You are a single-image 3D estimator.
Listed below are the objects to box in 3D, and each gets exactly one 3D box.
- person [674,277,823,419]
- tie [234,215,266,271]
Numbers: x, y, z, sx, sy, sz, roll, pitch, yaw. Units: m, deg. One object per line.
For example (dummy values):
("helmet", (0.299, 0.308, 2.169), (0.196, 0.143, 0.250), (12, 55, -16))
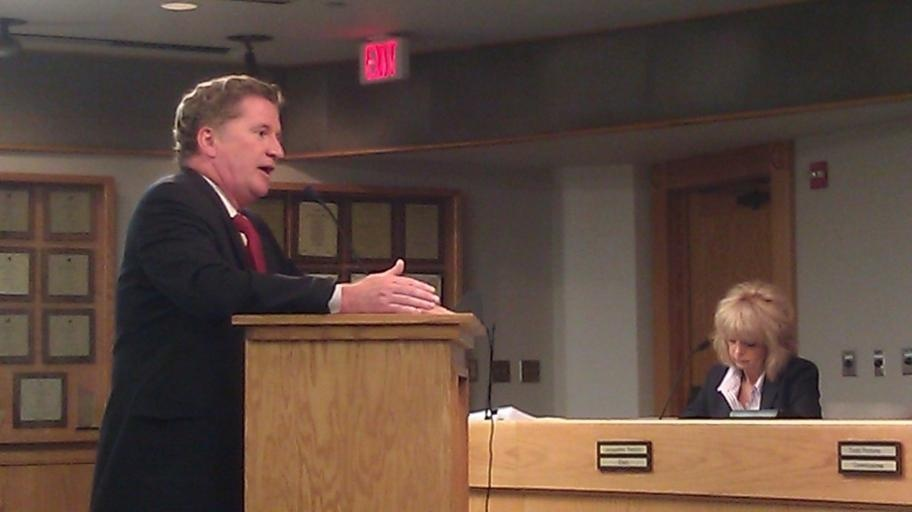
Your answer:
("person", (1.784, 0.546, 7.060), (0.493, 0.803, 0.863), (19, -18, -36))
("tie", (-0.892, -0.060, 5.190), (0.060, 0.239, 0.146), (-16, 3, 20))
